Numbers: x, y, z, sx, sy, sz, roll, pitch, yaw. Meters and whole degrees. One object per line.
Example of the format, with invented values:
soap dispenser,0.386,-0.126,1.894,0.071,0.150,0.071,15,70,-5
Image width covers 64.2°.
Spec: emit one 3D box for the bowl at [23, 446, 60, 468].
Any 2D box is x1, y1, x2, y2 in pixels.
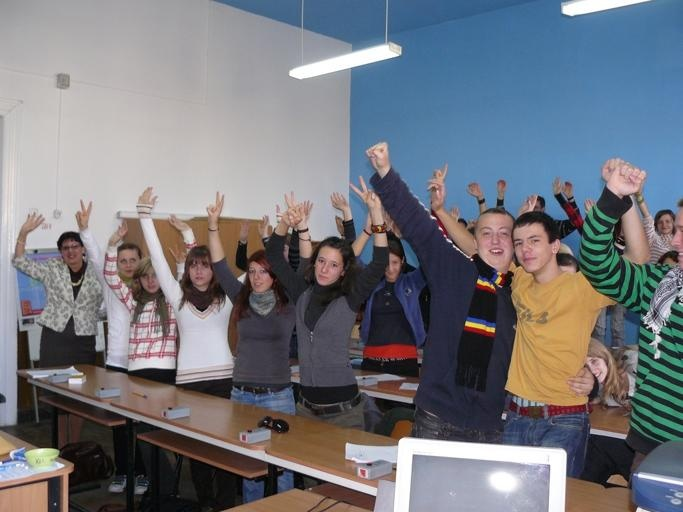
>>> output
bowl,-1.355,0.902,2.485,0.091,0.043,0.097,-1,-7,0
